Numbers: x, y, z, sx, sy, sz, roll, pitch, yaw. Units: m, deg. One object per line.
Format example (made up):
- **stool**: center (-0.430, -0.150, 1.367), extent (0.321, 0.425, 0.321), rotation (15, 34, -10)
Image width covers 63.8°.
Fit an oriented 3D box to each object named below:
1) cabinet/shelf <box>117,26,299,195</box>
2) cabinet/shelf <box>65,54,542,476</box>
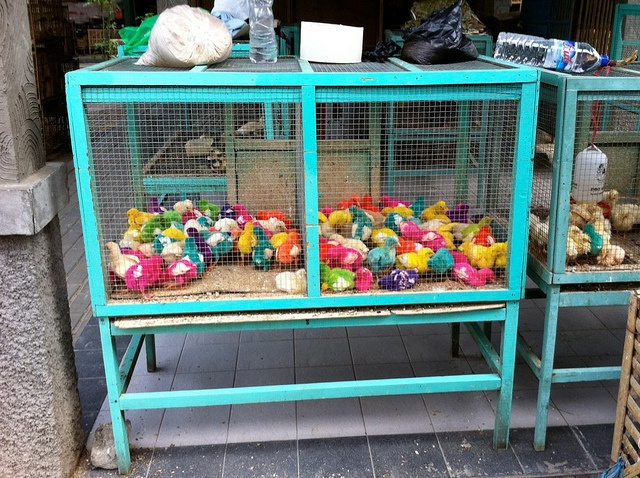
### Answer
- **cabinet/shelf**: center (-0.688, -1.111, 5.070), extent (1.980, 0.508, 2.082), rotation (0, 35, 2)
- **cabinet/shelf**: center (-0.229, -0.264, 3.890), extent (2.893, 2.193, 2.819), rotation (-2, 24, -3)
